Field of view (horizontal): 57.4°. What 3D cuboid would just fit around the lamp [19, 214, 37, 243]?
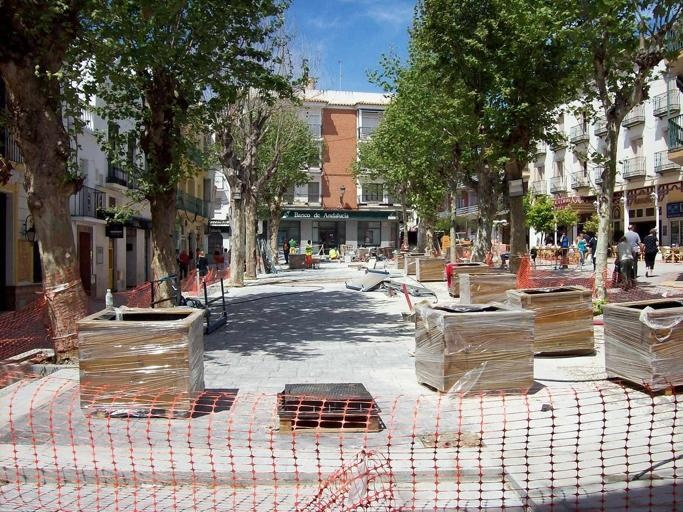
[{"bbox_3d":[-9.786,-0.854,19.643,0.384,0.880,0.594,-2,2,-7],"label":"lamp"}]
